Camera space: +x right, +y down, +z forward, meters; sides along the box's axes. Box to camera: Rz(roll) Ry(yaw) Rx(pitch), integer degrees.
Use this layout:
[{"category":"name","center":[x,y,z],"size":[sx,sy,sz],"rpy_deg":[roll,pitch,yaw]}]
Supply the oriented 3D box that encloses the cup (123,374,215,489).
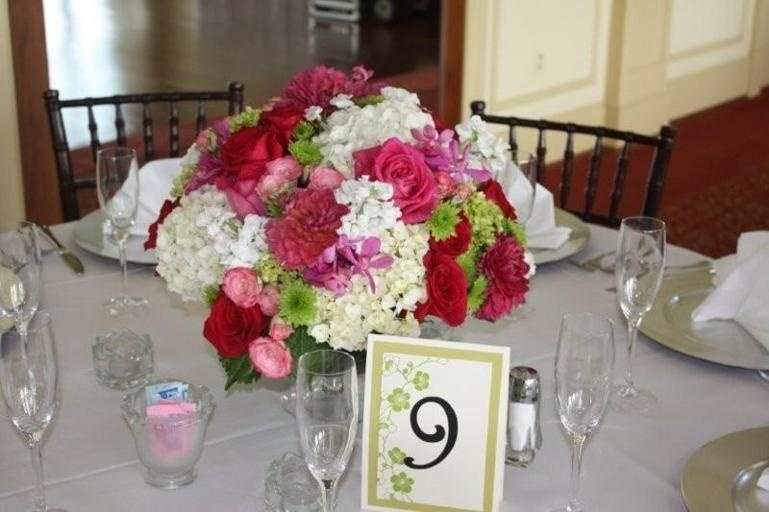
[{"category":"cup","center":[-0.387,0.312,1.165],"size":[0.164,0.185,0.171],"rpy_deg":[8,14,-2]}]

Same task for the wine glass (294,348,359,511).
[{"category":"wine glass","center":[-0.097,0.296,1.092],"size":[0.097,0.294,0.148],"rpy_deg":[-4,22,-9]}]

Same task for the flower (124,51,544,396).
[{"category":"flower","center":[-0.098,-0.063,1.228],"size":[0.569,0.433,0.594],"rpy_deg":[-4,25,-23]}]

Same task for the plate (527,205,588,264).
[{"category":"plate","center":[0.484,-0.056,1.829],"size":[0.149,0.018,0.158],"rpy_deg":[2,49,29]}]
